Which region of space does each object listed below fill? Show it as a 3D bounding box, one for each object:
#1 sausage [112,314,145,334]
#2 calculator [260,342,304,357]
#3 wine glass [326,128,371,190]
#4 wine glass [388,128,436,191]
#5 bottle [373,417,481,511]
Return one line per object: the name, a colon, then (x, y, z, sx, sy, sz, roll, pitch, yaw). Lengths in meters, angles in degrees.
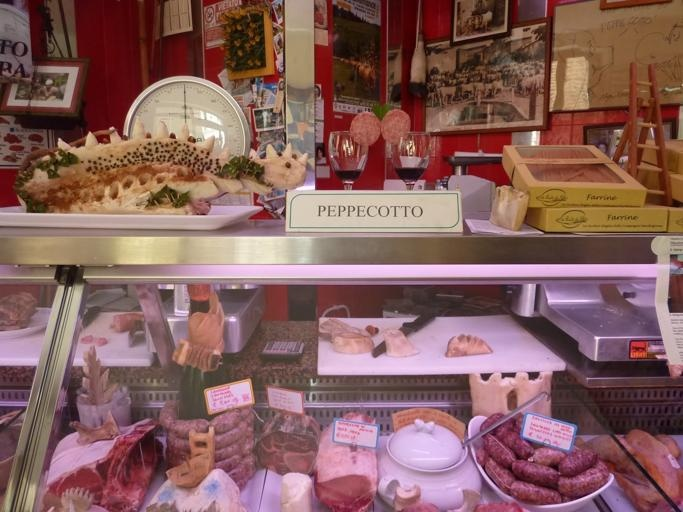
sausage: (-0.543, 0.169, 1.266, 0.077, 0.047, 0.030, -6, 2, -15)
calculator: (-0.157, 0.245, 1.332, 0.108, 0.029, 0.039, -3, 18, -6)
wine glass: (0.009, -0.268, 1.398, 0.093, 0.158, 0.128, -15, 22, -39)
wine glass: (0.192, -0.251, 1.329, 0.108, 0.147, 0.177, -3, 18, -6)
bottle: (0.225, 0.480, 1.284, 0.207, 0.177, 0.221, 1, 4, 6)
